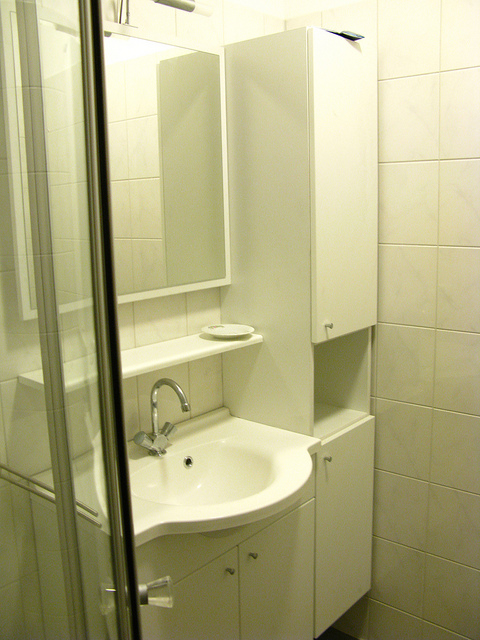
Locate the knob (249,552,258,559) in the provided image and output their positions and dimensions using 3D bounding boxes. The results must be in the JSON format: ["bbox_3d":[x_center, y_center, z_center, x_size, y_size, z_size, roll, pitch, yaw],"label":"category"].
[{"bbox_3d":[0.037,0.650,1.490,0.020,0.015,0.015,22,26,15],"label":"knob"}]

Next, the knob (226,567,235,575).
[{"bbox_3d":[-0.025,0.668,1.437,0.007,0.015,0.022,-13,-33,30],"label":"knob"}]

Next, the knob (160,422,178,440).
[{"bbox_3d":[-0.206,0.320,1.555,0.041,0.044,0.039,27,9,31],"label":"knob"}]

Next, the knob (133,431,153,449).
[{"bbox_3d":[-0.279,0.348,1.546,0.047,0.059,0.051,-5,10,-27],"label":"knob"}]

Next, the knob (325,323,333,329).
[{"bbox_3d":[0.271,0.017,1.627,0.011,0.014,0.039,7,12,40],"label":"knob"}]

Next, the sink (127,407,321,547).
[{"bbox_3d":[-0.029,0.422,1.497,0.348,0.168,0.418,14,23,36],"label":"sink"}]
